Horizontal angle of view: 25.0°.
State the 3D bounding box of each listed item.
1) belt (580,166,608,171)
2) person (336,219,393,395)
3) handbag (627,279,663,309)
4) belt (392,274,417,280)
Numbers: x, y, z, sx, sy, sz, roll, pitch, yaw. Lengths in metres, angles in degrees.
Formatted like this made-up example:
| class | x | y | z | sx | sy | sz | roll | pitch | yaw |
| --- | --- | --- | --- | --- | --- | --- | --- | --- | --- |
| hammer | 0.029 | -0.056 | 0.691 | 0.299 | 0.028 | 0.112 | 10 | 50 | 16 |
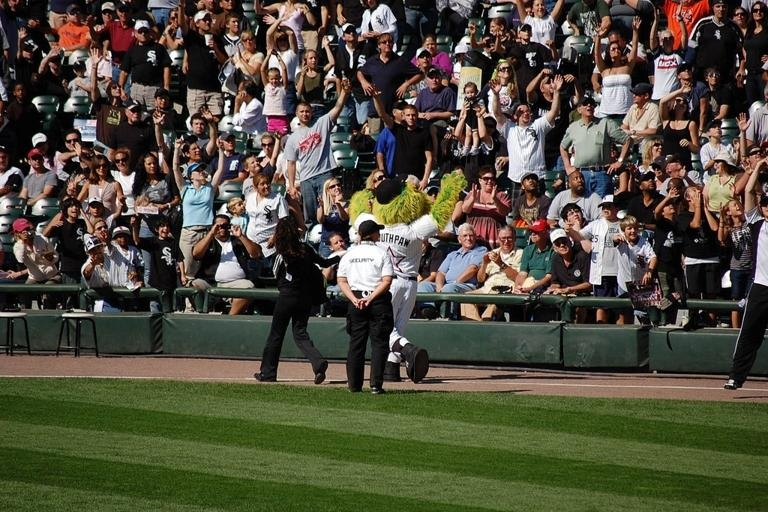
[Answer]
| class | x | y | z | sx | sy | sz | roll | pitch | yaw |
| --- | --- | --- | --- | --- | --- | --- | --- | --- | --- |
| belt | 3.727 | -1.536 | 30.691 | 0.472 | 0.075 | 0.103 | 4 | 0 | 5 |
| person | -0.267 | 0.758 | 26.400 | 0.825 | 2.547 | 1.127 | 1 | 4 | 6 |
| handbag | 4.201 | 0.646 | 27.939 | 0.568 | 0.456 | 0.294 | 4 | 0 | 8 |
| belt | 0.309 | 0.345 | 26.914 | 0.515 | 0.101 | 0.187 | 4 | 0 | -44 |
